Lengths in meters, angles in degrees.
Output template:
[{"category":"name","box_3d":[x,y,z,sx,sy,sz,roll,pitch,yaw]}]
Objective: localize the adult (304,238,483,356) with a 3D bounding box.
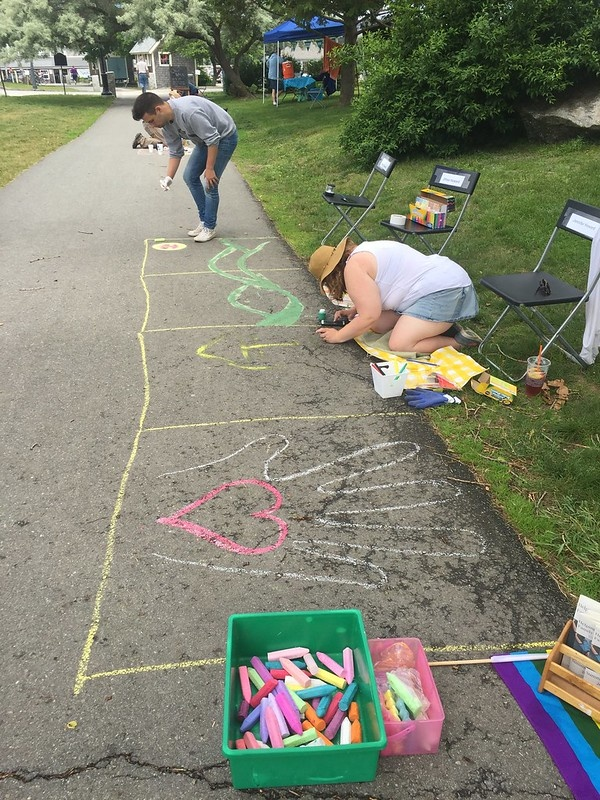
[{"category":"adult","box_3d":[0.653,-0.780,4.585,1.204,0.716,0.731,6,26,14]}]

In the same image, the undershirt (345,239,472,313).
[{"category":"undershirt","box_3d":[0.755,-0.806,4.552,0.962,0.476,0.587,-2,-4,7]}]

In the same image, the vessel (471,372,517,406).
[{"category":"vessel","box_3d":[1.193,-0.072,3.929,0.219,0.074,0.172,25,63,32]}]

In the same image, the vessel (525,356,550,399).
[{"category":"vessel","box_3d":[1.456,-0.174,3.919,0.132,0.268,0.206,8,26,19]}]

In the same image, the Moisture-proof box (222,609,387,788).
[{"category":"Moisture-proof box","box_3d":[0.000,0.948,2.078,0.475,0.323,0.512,-3,24,-5]}]

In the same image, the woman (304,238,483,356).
[{"category":"woman","box_3d":[0.656,-0.770,4.575,1.215,0.713,0.735,8,27,19]}]

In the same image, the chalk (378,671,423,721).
[{"category":"chalk","box_3d":[0.330,0.946,2.066,0.099,0.041,0.099,-5,40,1]}]

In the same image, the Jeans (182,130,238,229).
[{"category":"Jeans","box_3d":[-0.923,-2.440,6.603,0.505,1.323,0.455,11,19,7]}]

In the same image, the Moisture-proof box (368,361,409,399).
[{"category":"Moisture-proof box","box_3d":[0.554,-0.149,4.004,0.246,0.224,0.214,1,10,5]}]

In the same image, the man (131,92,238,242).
[{"category":"man","box_3d":[-1.102,-2.305,6.302,1.002,1.352,0.620,-12,29,-18]}]

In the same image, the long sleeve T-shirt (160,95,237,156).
[{"category":"long sleeve T-shirt","box_3d":[-0.949,-2.586,6.036,0.638,0.471,0.549,-18,30,-37]}]

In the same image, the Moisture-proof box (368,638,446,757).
[{"category":"Moisture-proof box","box_3d":[0.333,0.906,2.114,0.211,0.105,0.294,4,9,6]}]

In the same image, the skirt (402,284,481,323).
[{"category":"skirt","box_3d":[1.003,-0.645,4.359,0.400,0.221,0.269,-5,14,4]}]

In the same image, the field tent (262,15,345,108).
[{"category":"field tent","box_3d":[0.117,-10.004,18.920,2.205,2.295,8.918,-1,24,-2]}]

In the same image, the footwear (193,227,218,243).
[{"category":"footwear","box_3d":[-1.037,-1.796,6.976,0.103,0.129,0.290,8,30,15]}]

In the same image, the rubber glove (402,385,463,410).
[{"category":"rubber glove","box_3d":[0.815,-0.006,3.900,0.249,0.058,0.153,4,39,-5]}]
